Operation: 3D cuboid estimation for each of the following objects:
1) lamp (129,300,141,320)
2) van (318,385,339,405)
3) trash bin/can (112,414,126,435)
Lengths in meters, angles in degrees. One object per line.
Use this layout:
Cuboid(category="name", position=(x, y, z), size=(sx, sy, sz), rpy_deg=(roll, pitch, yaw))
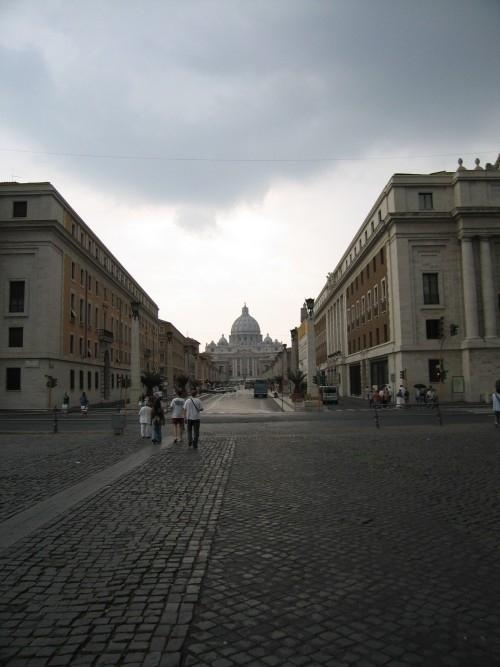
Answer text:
Cuboid(category="lamp", position=(-8.065, -1.687, 37.247), size=(0.498, 1.424, 0.905), rpy_deg=(0, -6, -8))
Cuboid(category="van", position=(7.189, 5.568, 46.437), size=(1.281, 1.262, 2.145), rpy_deg=(-1, 5, 2))
Cuboid(category="trash bin/can", position=(-5.281, 3.748, 21.187), size=(0.435, 0.843, 0.831), rpy_deg=(1, -6, -18))
